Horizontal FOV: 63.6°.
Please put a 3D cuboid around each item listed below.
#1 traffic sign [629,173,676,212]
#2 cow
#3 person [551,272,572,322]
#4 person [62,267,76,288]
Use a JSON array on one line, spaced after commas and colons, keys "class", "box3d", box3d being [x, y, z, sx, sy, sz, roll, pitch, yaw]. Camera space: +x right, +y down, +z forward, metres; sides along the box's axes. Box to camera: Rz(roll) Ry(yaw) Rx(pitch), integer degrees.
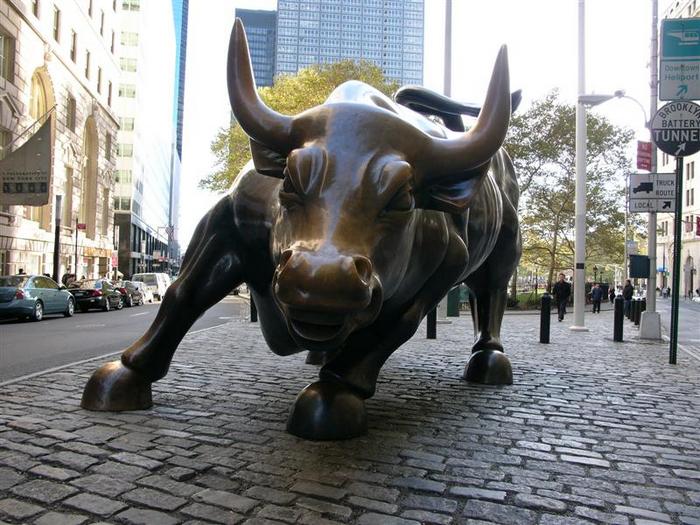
[{"class": "traffic sign", "box3d": [6.030, -1.382, 11.205, 0.085, 0.884, 0.880, 2, -3, -31]}, {"class": "cow", "box3d": [0.382, -0.025, 5.417, 1.999, 2.682, 4.996, 3, -2, 23]}, {"class": "person", "box3d": [8.539, 1.466, 22.883, 0.604, 1.912, 0.484, 3, 2, 39]}, {"class": "person", "box3d": [-14.750, 0.829, 29.636, 0.527, 1.426, 0.445, 10, -2, 41]}]
